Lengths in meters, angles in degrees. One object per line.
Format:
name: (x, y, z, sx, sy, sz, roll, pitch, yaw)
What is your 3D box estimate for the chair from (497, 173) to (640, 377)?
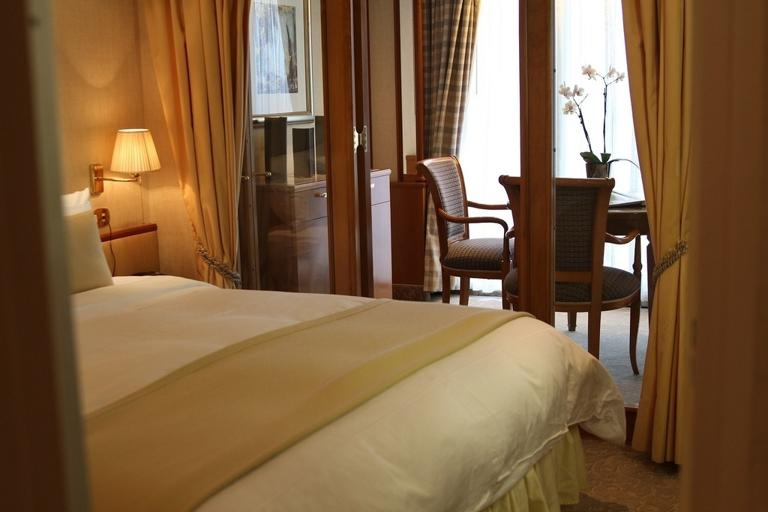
chair: (1.030, 0.081, 3.114, 0.641, 1.112, 0.645, 3, 15, 30)

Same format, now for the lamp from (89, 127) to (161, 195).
lamp: (-1.478, -0.527, 3.306, 0.362, 0.367, 0.264, -2, 11, -9)

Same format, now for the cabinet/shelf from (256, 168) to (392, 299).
cabinet/shelf: (-0.407, -0.131, 3.521, 0.259, 0.736, 0.711, 2, 6, 26)

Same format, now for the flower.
flower: (1.005, -0.635, 2.729, 0.374, 0.514, 0.116, 5, 13, 19)

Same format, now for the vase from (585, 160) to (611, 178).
vase: (1.014, -0.412, 2.741, 0.066, 0.058, 0.082, 0, -4, 26)
